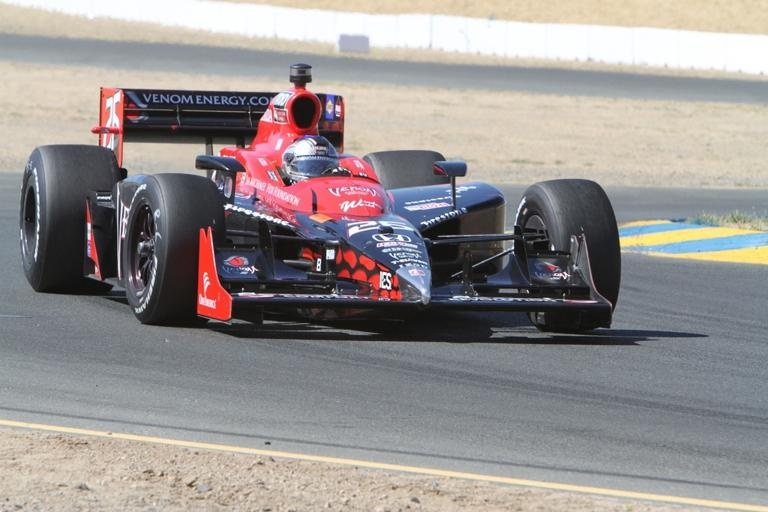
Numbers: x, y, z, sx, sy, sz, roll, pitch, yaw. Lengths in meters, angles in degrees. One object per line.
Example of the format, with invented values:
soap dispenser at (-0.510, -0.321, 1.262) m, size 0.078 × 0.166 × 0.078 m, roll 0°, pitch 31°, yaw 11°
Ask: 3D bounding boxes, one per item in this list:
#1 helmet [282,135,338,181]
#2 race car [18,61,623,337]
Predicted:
helmet at (-0.852, -1.171, 17.244) m, size 0.516 × 0.491 × 0.621 m, roll 5°, pitch -36°, yaw -35°
race car at (-0.948, -0.739, 17.067) m, size 6.773 × 2.960 × 3.666 m, roll 4°, pitch 8°, yaw 14°
